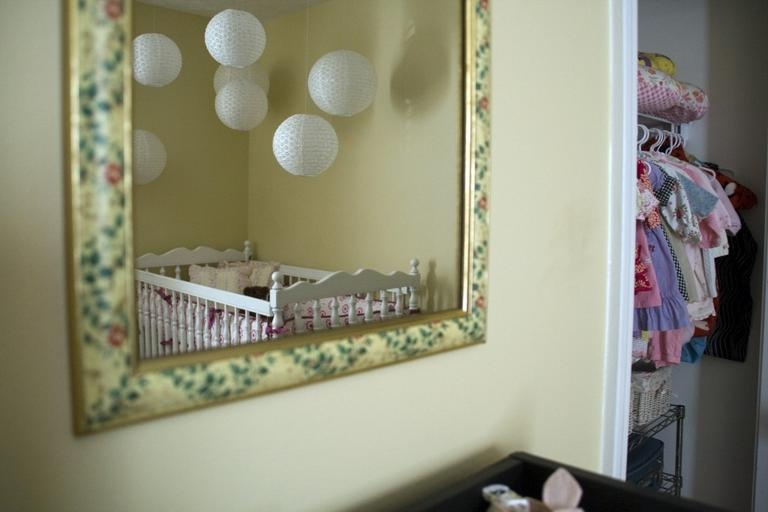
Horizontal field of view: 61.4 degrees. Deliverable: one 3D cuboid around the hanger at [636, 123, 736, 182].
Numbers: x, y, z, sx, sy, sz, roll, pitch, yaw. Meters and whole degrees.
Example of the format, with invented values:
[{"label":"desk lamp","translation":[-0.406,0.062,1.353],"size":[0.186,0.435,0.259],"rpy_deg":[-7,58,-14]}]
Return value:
[{"label":"hanger","translation":[1.348,-0.445,2.917],"size":[0.229,0.303,0.811],"rpy_deg":[4,3,35]}]
